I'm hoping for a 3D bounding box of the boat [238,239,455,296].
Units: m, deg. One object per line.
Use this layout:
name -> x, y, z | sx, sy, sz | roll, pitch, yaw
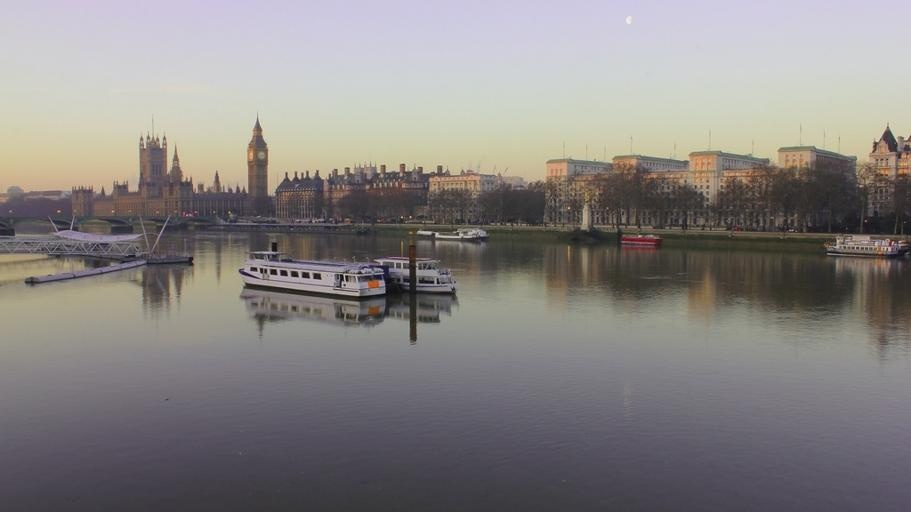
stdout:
boat -> -8.478, 1.180, 79.057 | 15.993, 3.159, 6.988 | 4, 10, 25
